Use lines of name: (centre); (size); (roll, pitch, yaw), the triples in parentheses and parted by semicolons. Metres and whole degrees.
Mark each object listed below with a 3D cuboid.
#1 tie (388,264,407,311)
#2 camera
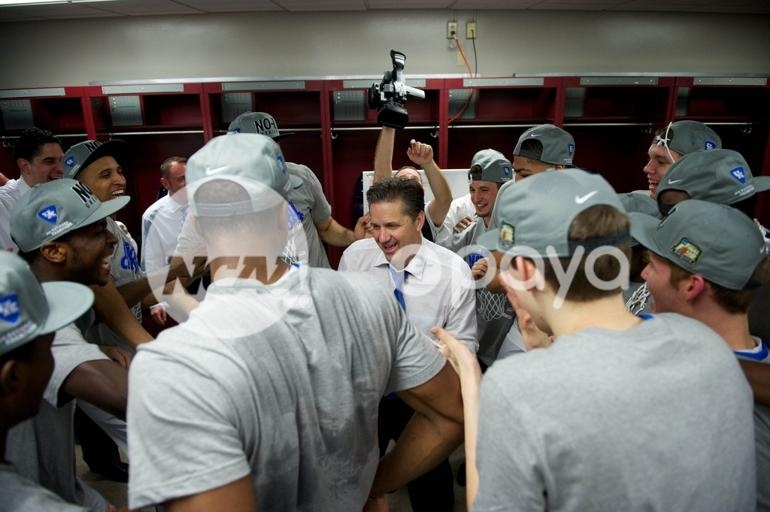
tie: (0.073, 0.165, 2.935); (0.064, 0.224, 0.022); (-16, -29, 19)
camera: (0.080, -1.081, 3.450); (0.253, 0.417, 0.321); (18, 26, 31)
